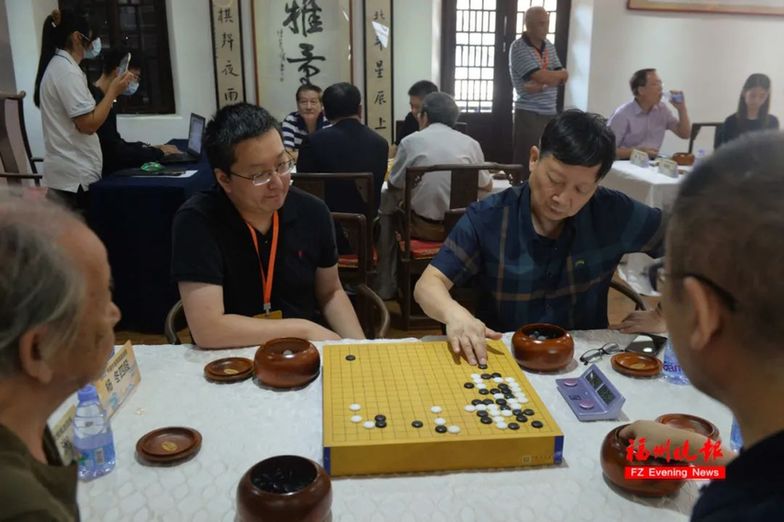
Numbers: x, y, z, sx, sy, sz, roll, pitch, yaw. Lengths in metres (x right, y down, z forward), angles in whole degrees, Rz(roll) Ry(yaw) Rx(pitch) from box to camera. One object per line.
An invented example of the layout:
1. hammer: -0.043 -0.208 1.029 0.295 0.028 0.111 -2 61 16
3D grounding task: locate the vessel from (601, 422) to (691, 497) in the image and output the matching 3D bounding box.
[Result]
1. vessel: 0.590 0.478 1.316 0.184 0.097 0.189 7 -1 -14

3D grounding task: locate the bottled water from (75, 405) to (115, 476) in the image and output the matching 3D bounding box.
1. bottled water: -0.703 0.411 1.307 0.078 0.149 0.093 -11 22 -27

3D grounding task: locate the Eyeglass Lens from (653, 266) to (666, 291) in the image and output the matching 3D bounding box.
1. Eyeglass Lens: 0.394 0.028 0.831 0.021 0.029 0.028 3 18 15

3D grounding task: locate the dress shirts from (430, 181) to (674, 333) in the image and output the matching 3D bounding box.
1. dress shirts: 0.568 -0.011 2.117 0.859 0.716 0.319 -1 24 -3

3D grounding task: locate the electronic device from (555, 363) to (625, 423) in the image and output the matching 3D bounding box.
1. electronic device: 0.544 0.370 1.545 0.112 0.061 0.165 -1 21 -3

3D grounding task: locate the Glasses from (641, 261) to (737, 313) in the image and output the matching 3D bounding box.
1. Glasses: 0.416 0.029 0.809 0.040 0.057 0.162 -7 21 -15
